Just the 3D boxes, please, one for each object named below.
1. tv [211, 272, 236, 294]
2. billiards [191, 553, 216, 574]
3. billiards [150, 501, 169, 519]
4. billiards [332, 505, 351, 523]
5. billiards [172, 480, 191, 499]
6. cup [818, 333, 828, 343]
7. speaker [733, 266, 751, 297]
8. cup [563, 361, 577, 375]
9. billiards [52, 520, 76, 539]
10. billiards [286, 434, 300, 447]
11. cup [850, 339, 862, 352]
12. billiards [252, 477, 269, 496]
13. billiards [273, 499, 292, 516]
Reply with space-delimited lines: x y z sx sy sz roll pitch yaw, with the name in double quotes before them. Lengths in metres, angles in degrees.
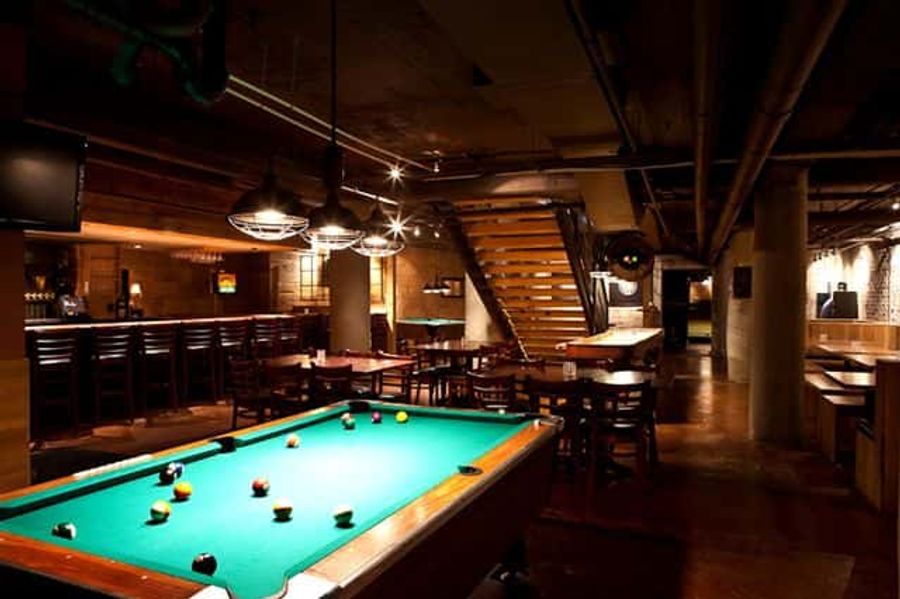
"tv" -6.332 -0.493 16.938 0.597 0.648 0.562 0 7 -18
"billiards" -1.267 1.354 3.097 0.103 0.064 0.119 7 -14 -10
"billiards" -1.692 1.228 3.522 0.103 0.096 0.097 0 -1 16
"billiards" -0.623 1.229 3.487 0.097 0.064 0.096 2 4 29
"billiards" -1.655 1.178 3.780 0.097 0.098 0.098 17 -4 27
"cup" 7.839 0.799 12.705 0.143 0.168 0.105 2 15 18
"speaker" 6.393 -0.400 13.310 0.362 0.720 0.271 5 8 27
"cup" 1.434 0.813 7.251 0.168 0.162 0.167 -1 2 0
"billiards" -2.105 1.236 3.303 0.090 0.064 0.110 -15 29 -36
"billiards" -1.182 1.063 4.573 0.078 0.086 0.076 12 -41 4
"cup" 7.371 0.834 10.985 0.155 0.145 0.157 2 -2 0
"billiards" -1.198 1.183 3.862 0.099 0.093 0.097 11 1 3
"billiards" -0.991 1.228 3.598 0.094 0.068 0.092 1 -3 20
